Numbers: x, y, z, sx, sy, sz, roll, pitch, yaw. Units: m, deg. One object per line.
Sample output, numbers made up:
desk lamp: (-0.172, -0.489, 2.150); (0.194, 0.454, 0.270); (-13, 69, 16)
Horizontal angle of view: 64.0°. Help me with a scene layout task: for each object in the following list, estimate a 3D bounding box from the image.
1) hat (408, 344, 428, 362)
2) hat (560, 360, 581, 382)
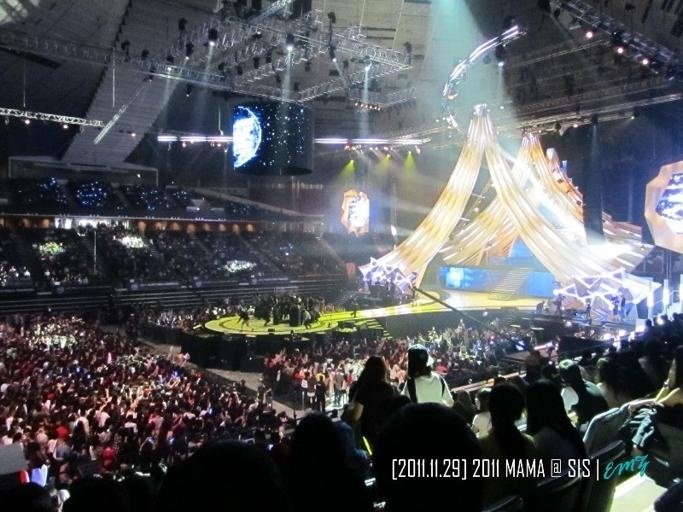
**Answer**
hat: (1.036, 1.321, 7.412); (0.279, 0.188, 0.299); (0, 4, 6)
hat: (3.121, 1.586, 7.480); (0.337, 0.303, 0.266); (3, 5, 36)
